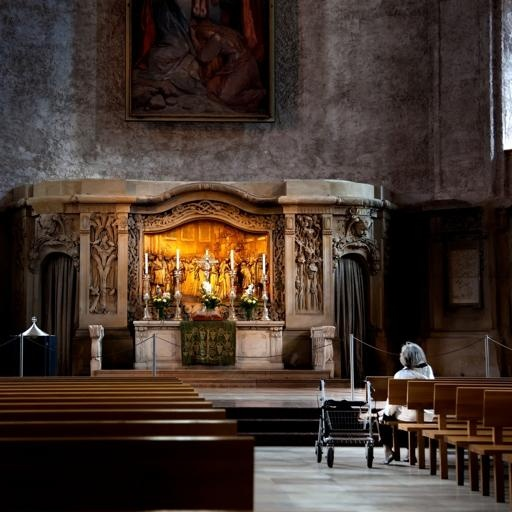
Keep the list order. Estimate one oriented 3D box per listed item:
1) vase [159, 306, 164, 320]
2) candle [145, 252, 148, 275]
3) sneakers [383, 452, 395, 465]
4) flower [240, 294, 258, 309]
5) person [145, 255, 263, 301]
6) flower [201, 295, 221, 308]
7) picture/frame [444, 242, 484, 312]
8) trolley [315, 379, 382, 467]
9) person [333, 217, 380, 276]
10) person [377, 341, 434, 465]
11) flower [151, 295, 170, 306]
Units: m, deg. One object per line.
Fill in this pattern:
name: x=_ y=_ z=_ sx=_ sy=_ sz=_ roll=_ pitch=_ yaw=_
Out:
vase: x=-1.754 y=1.073 z=17.386 sx=0.086 sy=0.232 sz=0.307 roll=0 pitch=-6 yaw=-7
candle: x=-2.083 y=0.166 z=17.776 sx=0.065 sy=0.429 sz=0.255 roll=0 pitch=-6 yaw=-9
sneakers: x=1.305 y=1.988 z=9.275 sx=0.058 sy=0.171 sz=0.054 roll=18 pitch=13 yaw=-10
flower: x=-0.133 y=0.856 z=17.278 sx=0.214 sy=0.210 sz=0.228 roll=5 pitch=-7 yaw=-18
person: x=-0.989 y=0.399 z=18.051 sx=2.154 sy=0.896 sz=0.311 roll=0 pitch=-5 yaw=-6
flower: x=-0.838 y=0.837 z=17.174 sx=0.217 sy=0.232 sz=0.239 roll=3 pitch=3 yaw=-9
picture/frame: x=4.057 y=0.378 z=18.485 sx=0.762 sy=1.248 sz=0.047 roll=-6 pitch=-7 yaw=42
trolley: x=0.892 y=1.645 z=9.546 sx=0.553 sy=0.935 sz=1.009 roll=-1 pitch=-8 yaw=8
person: x=1.948 y=-0.279 z=18.004 sx=1.152 sy=1.288 sz=0.396 roll=-1 pitch=7 yaw=-34
person: x=1.594 y=1.561 z=9.864 sx=0.720 sy=1.310 sz=0.715 roll=1 pitch=1 yaw=-37
flower: x=-1.754 y=0.811 z=17.419 sx=0.271 sy=0.251 sz=0.436 roll=-2 pitch=-6 yaw=14
